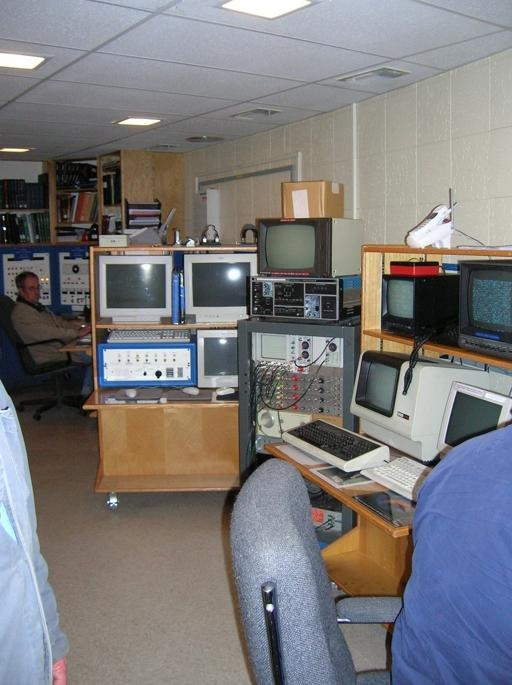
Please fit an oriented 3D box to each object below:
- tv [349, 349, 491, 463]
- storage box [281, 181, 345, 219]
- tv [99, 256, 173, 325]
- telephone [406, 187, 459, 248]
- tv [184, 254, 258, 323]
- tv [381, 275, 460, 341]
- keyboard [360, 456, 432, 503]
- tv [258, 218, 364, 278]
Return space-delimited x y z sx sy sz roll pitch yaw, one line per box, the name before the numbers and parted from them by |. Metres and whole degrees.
tv | 0.669 0.171 2.353 0.432 0.440 0.558 0 7 -13
storage box | 0.350 -0.861 3.382 0.336 0.244 0.332 -9 11 -42
tv | -0.751 -0.347 3.746 0.676 0.560 0.362 0 4 -2
telephone | 0.765 -0.543 2.380 0.218 0.262 0.090 -9 22 -10
tv | -0.227 -0.362 3.437 0.440 0.402 0.220 0 12 -2
tv | 0.718 -0.151 2.284 0.293 0.263 0.266 -3 7 -16
keyboard | 0.496 0.496 1.957 0.186 0.041 0.252 -10 16 -28
tv | 0.358 -0.547 3.110 0.439 0.276 0.442 7 10 39
